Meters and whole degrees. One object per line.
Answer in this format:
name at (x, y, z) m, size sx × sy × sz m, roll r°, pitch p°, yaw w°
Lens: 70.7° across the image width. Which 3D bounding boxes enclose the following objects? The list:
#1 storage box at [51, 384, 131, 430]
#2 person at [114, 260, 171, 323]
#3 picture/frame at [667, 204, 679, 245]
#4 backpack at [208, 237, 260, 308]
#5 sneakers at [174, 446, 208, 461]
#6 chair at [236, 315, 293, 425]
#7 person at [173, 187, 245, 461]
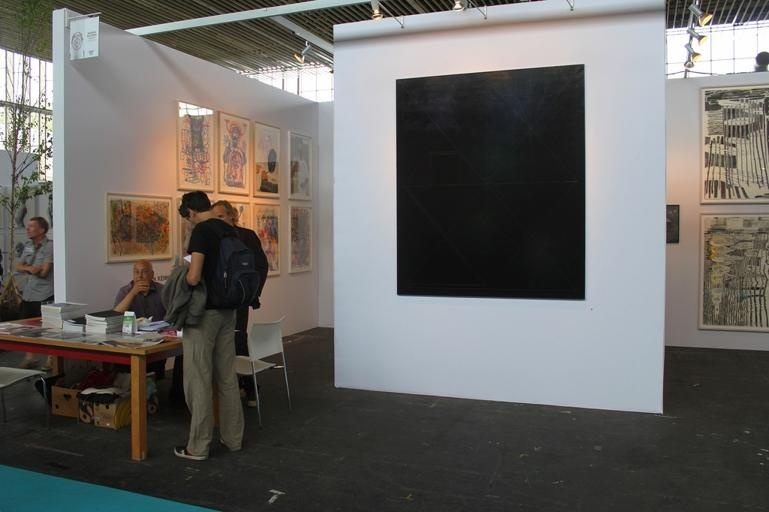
storage box at (-3.348, 1.725, 6.230) m, size 0.565 × 0.222 × 0.589 m, roll 2°, pitch 1°, yaw 15°
person at (-2.951, 0.456, 6.601) m, size 0.642 × 0.914 × 0.485 m, roll -2°, pitch -3°, yaw -8°
picture/frame at (5.058, -0.546, 9.582) m, size 0.215 × 0.568 × 0.023 m, roll -7°, pitch 7°, yaw 20°
backpack at (-1.505, 0.161, 5.547) m, size 0.383 × 0.700 × 0.480 m, roll 9°, pitch 11°, yaw 18°
sneakers at (-1.936, 2.026, 5.533) m, size 0.325 × 0.115 × 0.135 m, roll 7°, pitch -2°, yaw 9°
chair at (-1.454, 1.294, 6.210) m, size 0.600 × 1.023 × 0.616 m, roll -13°, pitch -15°, yaw 20°
person at (-1.763, 0.705, 5.556) m, size 0.602 × 2.678 × 0.648 m, roll 3°, pitch 9°, yaw 19°
